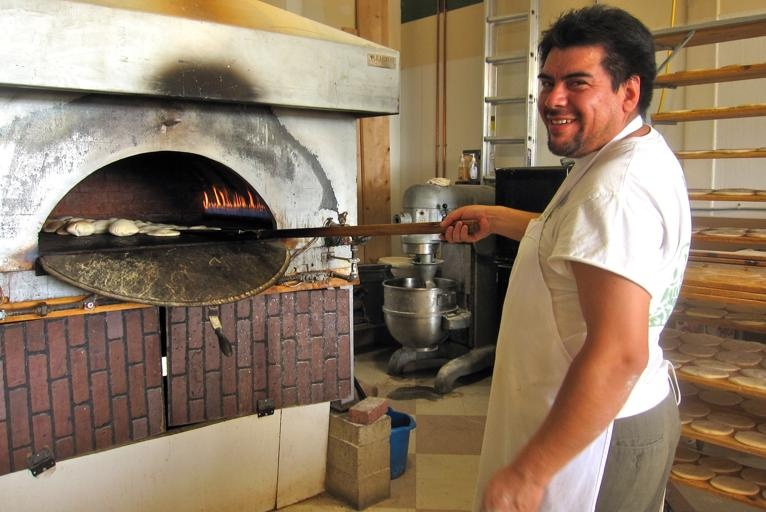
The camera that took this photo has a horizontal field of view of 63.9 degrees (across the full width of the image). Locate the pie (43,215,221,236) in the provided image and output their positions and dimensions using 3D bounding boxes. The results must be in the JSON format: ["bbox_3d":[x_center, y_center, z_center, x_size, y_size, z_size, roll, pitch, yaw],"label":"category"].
[{"bbox_3d":[-1.194,-0.144,2.915,0.734,0.087,0.412,-5,12,-20],"label":"pie"}]
